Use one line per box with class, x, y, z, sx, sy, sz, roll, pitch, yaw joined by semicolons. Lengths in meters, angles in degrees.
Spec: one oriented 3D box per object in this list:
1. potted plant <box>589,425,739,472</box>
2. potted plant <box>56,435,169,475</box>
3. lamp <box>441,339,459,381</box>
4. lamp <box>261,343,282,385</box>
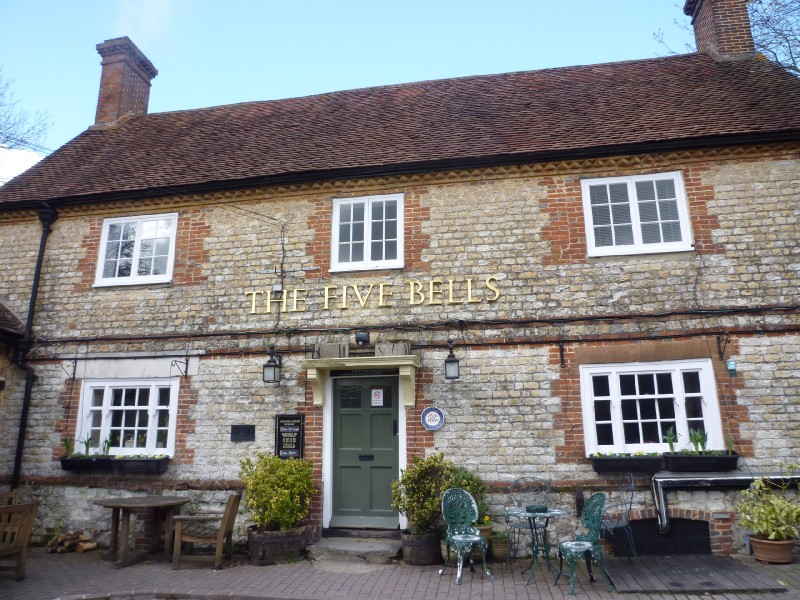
potted plant;4.395;2.548;11.818;2.275;0.630;0.350;-2;0;12
potted plant;-5.327;2.924;13.189;2.116;0.698;0.393;-2;0;12
lamp;0.922;1.067;12.608;0.286;0.668;0.357;-3;0;4
lamp;-2.359;1.185;12.989;0.378;0.713;0.466;-3;0;1
